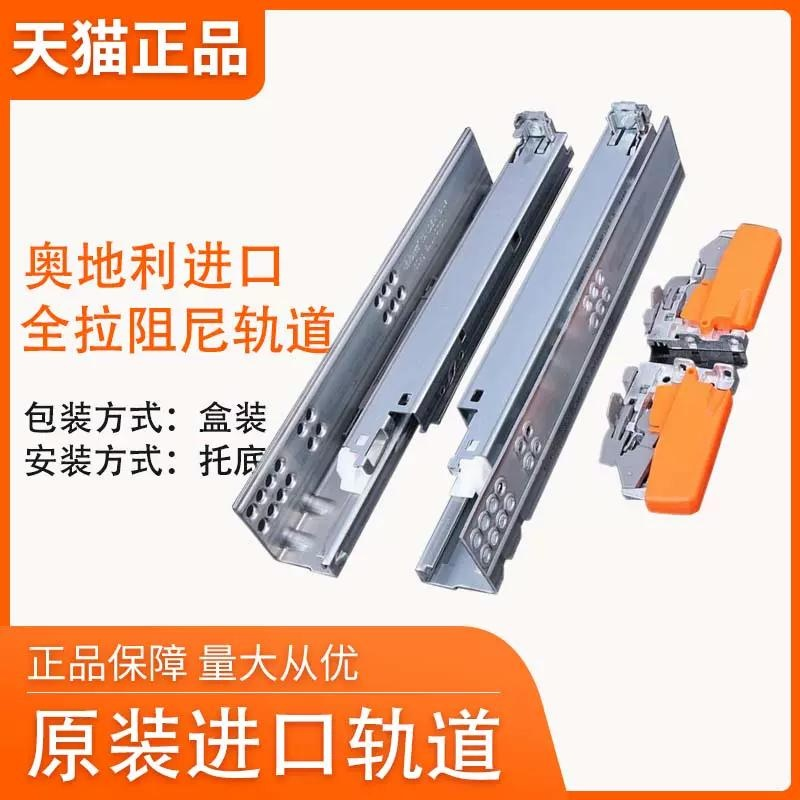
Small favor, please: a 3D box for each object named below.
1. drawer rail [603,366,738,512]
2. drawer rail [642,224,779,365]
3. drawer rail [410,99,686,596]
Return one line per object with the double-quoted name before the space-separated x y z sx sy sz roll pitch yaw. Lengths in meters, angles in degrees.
"drawer rail" 1.439 0.176 6.434 0.626 1.038 0.463 -10 -26 38
"drawer rail" 1.911 -0.586 7.084 0.698 1.132 0.422 15 -42 38
"drawer rail" 0.758 -0.327 6.365 0.423 3.353 0.745 14 -22 20
